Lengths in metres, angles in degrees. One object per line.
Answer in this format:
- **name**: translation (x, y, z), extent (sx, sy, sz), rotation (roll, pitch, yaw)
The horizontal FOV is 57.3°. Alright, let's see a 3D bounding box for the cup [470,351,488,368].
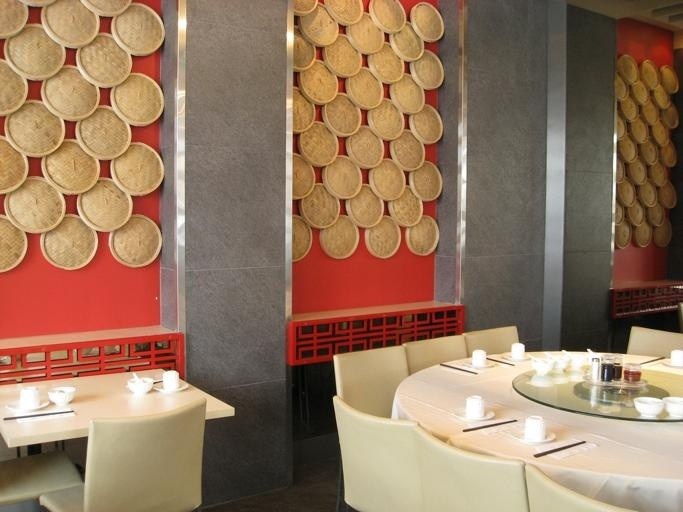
- **cup**: translation (0.833, 0.617, 3.784), extent (0.092, 0.101, 0.093), rotation (0, -3, 0)

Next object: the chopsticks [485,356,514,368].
- **chopsticks**: translation (0.973, 0.644, 3.823), extent (0.115, 0.005, 0.016), rotation (20, 37, 22)

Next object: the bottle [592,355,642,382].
- **bottle**: translation (1.507, 0.596, 3.379), extent (0.200, 0.128, 0.104), rotation (-3, 4, -41)

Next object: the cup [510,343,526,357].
- **cup**: translation (1.112, 0.591, 3.949), extent (0.092, 0.111, 0.095), rotation (-1, -1, 0)

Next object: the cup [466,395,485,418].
- **cup**: translation (0.638, 0.708, 3.001), extent (0.096, 0.100, 0.088), rotation (-1, 0, 0)

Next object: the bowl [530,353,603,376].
- **bowl**: translation (1.300, 0.623, 3.663), extent (0.211, 0.060, 0.205), rotation (-1, 1, 0)

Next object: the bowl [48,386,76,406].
- **bowl**: translation (-1.438, 0.719, 3.234), extent (0.091, 0.060, 0.094), rotation (0, -9, 0)

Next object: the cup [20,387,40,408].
- **cup**: translation (-1.567, 0.703, 3.161), extent (0.103, 0.108, 0.091), rotation (6, -3, -29)

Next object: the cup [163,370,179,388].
- **cup**: translation (-0.937, 0.676, 3.481), extent (0.082, 0.082, 0.082), rotation (2, 9, 0)

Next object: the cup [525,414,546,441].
- **cup**: translation (0.843, 0.754, 2.766), extent (0.064, 0.115, 0.111), rotation (-1, 5, -24)
